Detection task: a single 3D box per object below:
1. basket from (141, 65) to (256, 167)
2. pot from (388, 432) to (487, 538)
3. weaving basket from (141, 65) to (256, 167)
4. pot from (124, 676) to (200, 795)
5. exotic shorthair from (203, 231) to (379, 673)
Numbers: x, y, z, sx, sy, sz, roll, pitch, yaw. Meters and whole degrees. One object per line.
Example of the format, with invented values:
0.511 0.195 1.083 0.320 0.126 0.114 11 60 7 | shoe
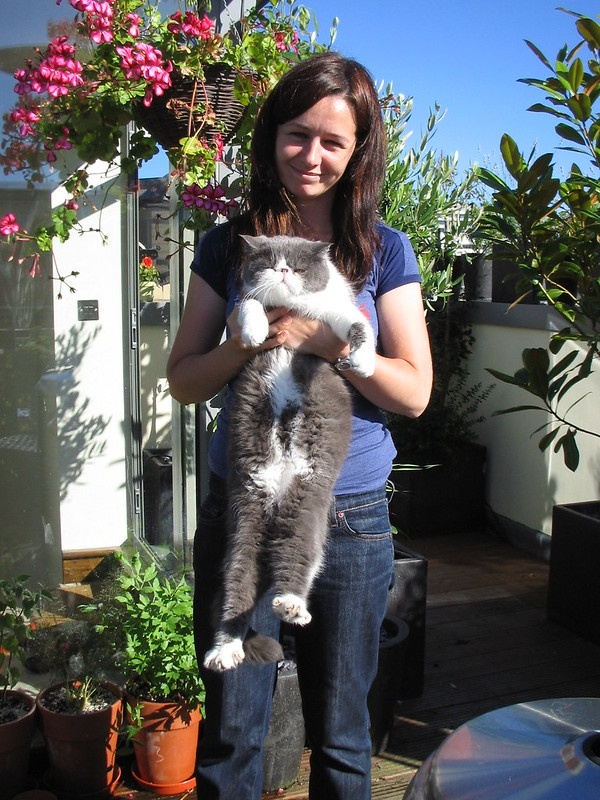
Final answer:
-0.272 -0.905 2.048 0.144 0.202 0.203 14 -26 11 | basket
1.034 0.584 4.818 0.680 0.554 0.486 -5 0 28 | pot
-0.330 -0.834 2.084 0.260 0.161 0.251 -2 -2 -3 | weaving basket
-0.392 1.069 2.245 0.329 0.324 0.310 2 -2 0 | pot
-0.017 0.105 1.287 0.307 0.828 0.287 0 8 5 | exotic shorthair
